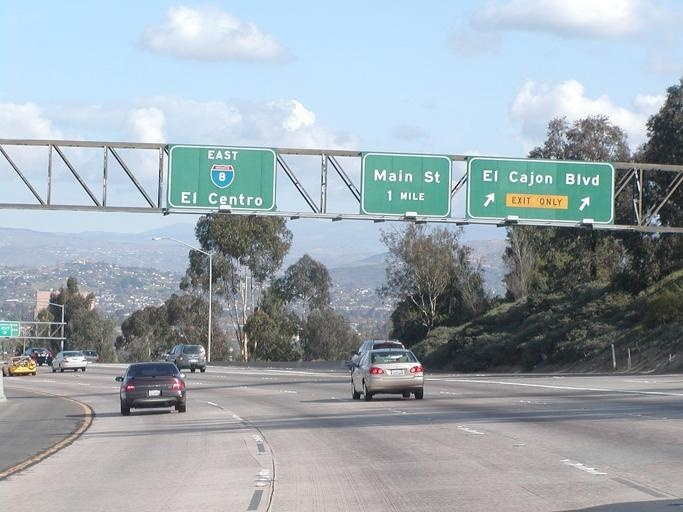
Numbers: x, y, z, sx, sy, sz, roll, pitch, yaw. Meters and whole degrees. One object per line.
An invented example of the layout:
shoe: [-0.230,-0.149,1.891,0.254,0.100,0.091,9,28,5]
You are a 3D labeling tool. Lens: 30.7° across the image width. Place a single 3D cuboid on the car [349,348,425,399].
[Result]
car: [1.573,4.362,45.636,2.351,1.936,3.407,-2,-6,-6]
